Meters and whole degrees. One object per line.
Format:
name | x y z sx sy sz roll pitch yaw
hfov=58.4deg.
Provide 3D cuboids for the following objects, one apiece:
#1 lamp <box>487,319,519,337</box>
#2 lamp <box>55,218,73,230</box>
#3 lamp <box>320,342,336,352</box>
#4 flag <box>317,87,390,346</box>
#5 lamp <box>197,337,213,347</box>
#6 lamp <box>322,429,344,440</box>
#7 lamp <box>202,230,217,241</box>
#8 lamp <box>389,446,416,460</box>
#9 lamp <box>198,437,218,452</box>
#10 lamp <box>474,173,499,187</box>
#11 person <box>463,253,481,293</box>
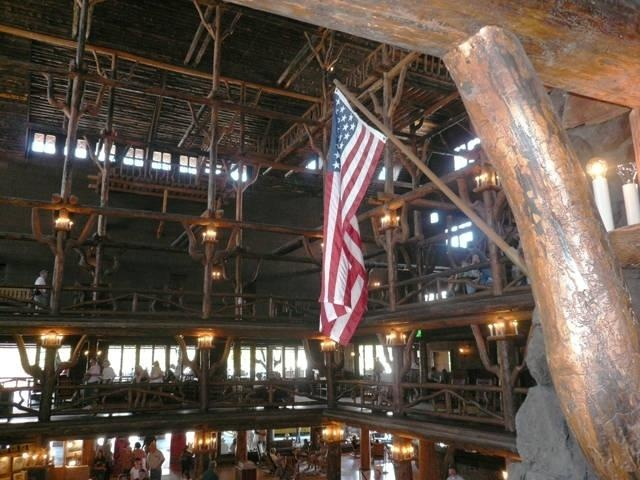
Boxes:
lamp | 3.293 1.612 10.328 0.417 0.304 0.415 3 -9 -39
lamp | -5.705 -0.337 12.759 0.290 0.289 0.292 21 -2 45
lamp | 0.255 2.938 15.761 0.356 0.361 0.361 -11 -17 43
flag | 0.309 -0.413 6.382 0.760 3.047 1.053 -3 -14 -1
lamp | -2.844 2.492 13.957 0.279 0.213 0.289 0 -11 3
lamp | 0.345 5.328 15.613 0.430 0.304 0.441 1 -19 0
lamp | -2.739 -0.084 14.035 0.268 0.265 0.274 2 -5 1
lamp | 1.919 4.945 13.280 0.500 0.335 0.402 -2 -14 -4
lamp | -2.729 4.994 14.008 0.312 0.297 0.502 -13 -17 33
lamp | 3.046 -1.064 10.464 0.309 0.319 0.274 -4 0 -40
person | 3.544 0.782 13.360 0.214 1.009 0.266 1 -29 10
